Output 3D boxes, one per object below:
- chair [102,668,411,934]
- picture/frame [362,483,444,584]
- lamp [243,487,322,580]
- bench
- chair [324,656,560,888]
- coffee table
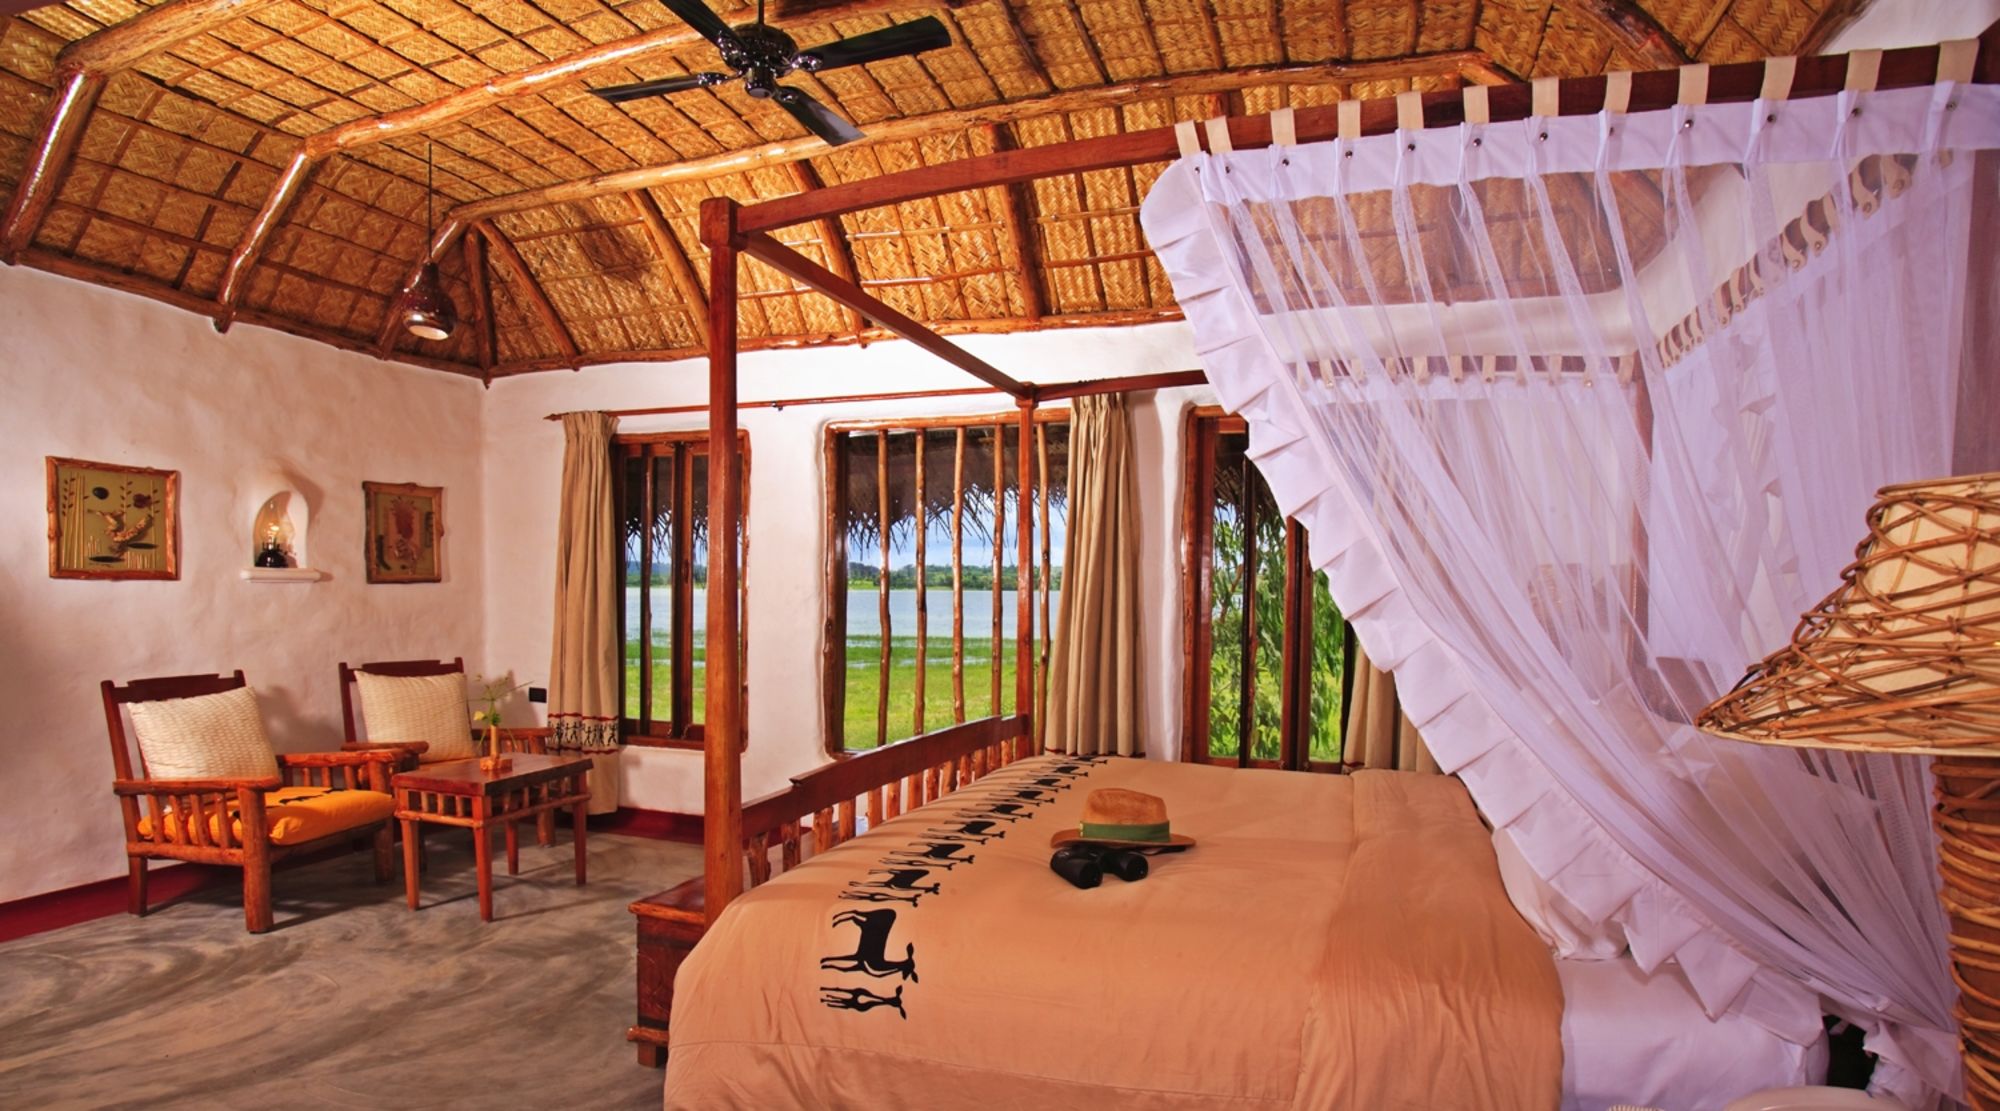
[{"bbox_3d":[-4.307,1.408,7.910,1.746,1.697,1.406,0,1,14],"label":"chair"},{"bbox_3d":[-4.355,-0.162,8.882,0.131,0.888,0.817,2,0,34],"label":"picture/frame"},{"bbox_3d":[-4.812,-0.146,8.176,0.228,0.690,0.652,-4,-5,28],"label":"lamp"},{"bbox_3d":[-1.300,1.888,6.187,1.075,0.987,1.768,0,1,23],"label":"bench"},{"bbox_3d":[-4.170,1.469,8.843,1.479,1.891,1.557,-7,-7,37],"label":"chair"},{"bbox_3d":[-3.171,1.512,7.728,1.026,0.974,1.297,1,2,25],"label":"coffee table"}]
